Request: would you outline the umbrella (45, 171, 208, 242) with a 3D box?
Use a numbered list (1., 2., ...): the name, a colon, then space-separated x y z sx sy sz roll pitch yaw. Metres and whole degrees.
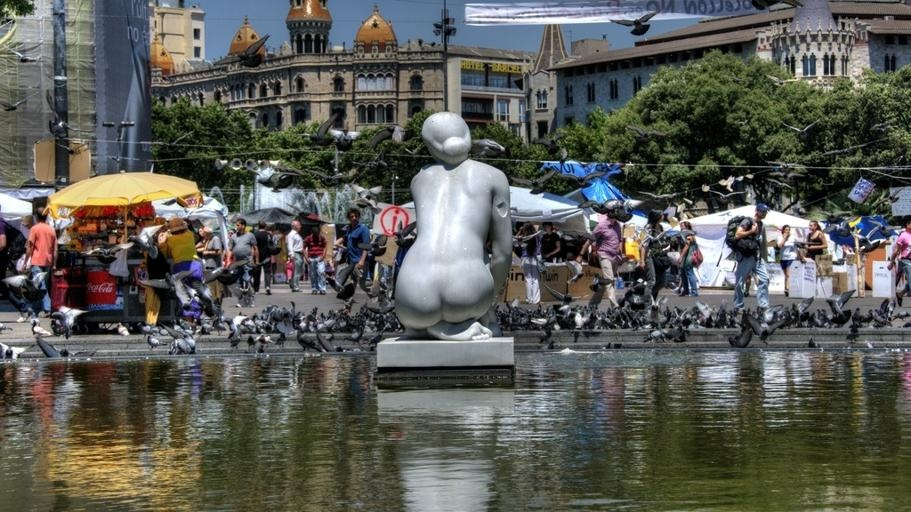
1. umbrella: -13.493 -2.410 83.654 4.351 1.906 3.909 -2 -1 -18
